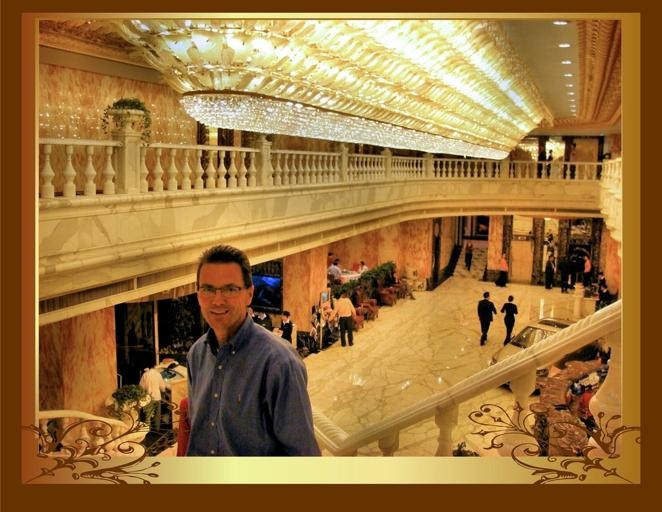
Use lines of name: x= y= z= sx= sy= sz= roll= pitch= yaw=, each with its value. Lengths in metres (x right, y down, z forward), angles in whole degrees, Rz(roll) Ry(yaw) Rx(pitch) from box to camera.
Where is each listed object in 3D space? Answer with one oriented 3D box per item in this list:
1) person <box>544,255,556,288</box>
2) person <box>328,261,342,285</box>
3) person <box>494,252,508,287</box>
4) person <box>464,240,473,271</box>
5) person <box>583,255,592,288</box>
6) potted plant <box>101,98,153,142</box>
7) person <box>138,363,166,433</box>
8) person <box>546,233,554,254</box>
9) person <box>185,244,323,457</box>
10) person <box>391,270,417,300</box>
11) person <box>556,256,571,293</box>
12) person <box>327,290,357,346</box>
person: x=8.792 y=0.610 z=18.655 sx=0.388 sy=1.273 sz=0.879 roll=5 pitch=9 yaw=28
person: x=0.094 y=0.539 z=14.370 sx=0.461 sy=0.885 sz=0.489 roll=6 pitch=15 yaw=20
person: x=6.927 y=0.572 z=18.860 sx=0.466 sy=1.205 sz=1.732 roll=4 pitch=9 yaw=21
person: x=6.395 y=-0.053 z=21.660 sx=0.388 sy=1.344 sz=1.222 roll=3 pitch=9 yaw=17
person: x=9.240 y=0.589 z=16.754 sx=0.271 sy=0.984 sz=0.763 roll=5 pitch=9 yaw=28
potted plant: x=-2.233 y=-1.520 z=5.083 sx=0.382 sy=0.430 sz=0.402 roll=1 pitch=6 yaw=-10
person: x=-2.676 y=2.202 z=6.988 sx=0.363 sy=0.800 sz=1.160 roll=-2 pitch=9 yaw=-20
person: x=8.875 y=-0.479 z=18.833 sx=0.359 sy=0.890 sz=0.150 roll=5 pitch=9 yaw=27
person: x=-0.415 y=0.478 z=2.190 sx=0.774 sy=1.011 sz=0.308 roll=6 pitch=10 yaw=34
person: x=2.538 y=1.056 z=16.761 sx=0.978 sy=0.379 sz=0.739 roll=13 pitch=20 yaw=35
person: x=9.125 y=0.710 z=18.196 sx=0.444 sy=1.280 sz=1.205 roll=5 pitch=9 yaw=27
person: x=0.299 y=1.613 z=12.238 sx=0.637 sy=1.216 sz=1.189 roll=1 pitch=8 yaw=1
